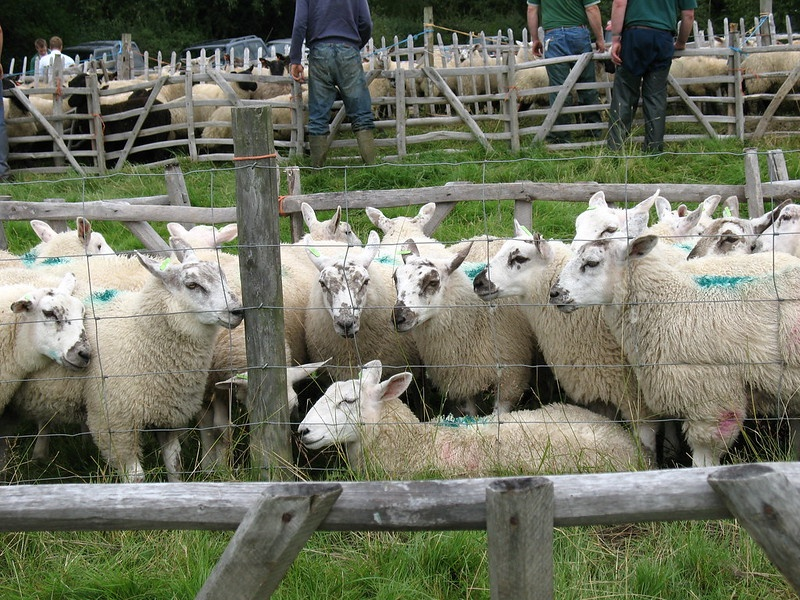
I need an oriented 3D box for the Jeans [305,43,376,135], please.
[{"bbox_3d":[-0.907,-3.081,15.315,0.934,1.640,0.558,-2,35,2],"label":"Jeans"}]
